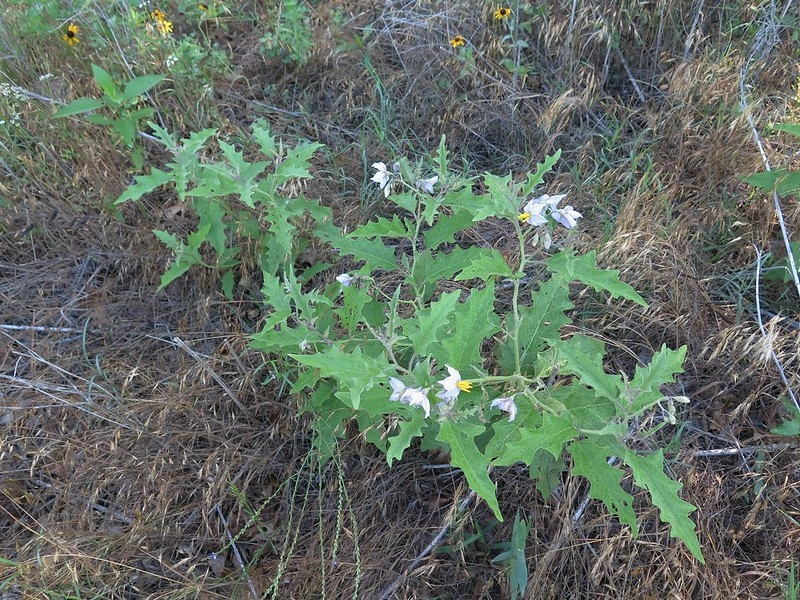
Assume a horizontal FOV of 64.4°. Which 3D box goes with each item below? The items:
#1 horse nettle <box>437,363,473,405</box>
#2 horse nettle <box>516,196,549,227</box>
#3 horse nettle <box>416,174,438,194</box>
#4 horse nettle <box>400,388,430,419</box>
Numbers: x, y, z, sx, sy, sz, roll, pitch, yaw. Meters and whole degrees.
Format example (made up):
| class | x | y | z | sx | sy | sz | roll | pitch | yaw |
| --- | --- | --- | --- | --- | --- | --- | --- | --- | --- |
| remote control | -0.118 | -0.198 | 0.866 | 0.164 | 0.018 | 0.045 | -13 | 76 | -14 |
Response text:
| class | x | y | z | sx | sy | sz | roll | pitch | yaw |
| --- | --- | --- | --- | --- | --- | --- | --- | --- | --- |
| horse nettle | 0.260 | 0.412 | 3.023 | 0.143 | 0.312 | 0.188 | -5 | 48 | 10 |
| horse nettle | 0.676 | -0.415 | 3.218 | 0.144 | 0.062 | 0.148 | -41 | 60 | 8 |
| horse nettle | 0.160 | -0.665 | 3.682 | 0.104 | 0.120 | 0.071 | -9 | 13 | 3 |
| horse nettle | 0.067 | 0.486 | 2.958 | 0.135 | 0.135 | 0.073 | 37 | 79 | 15 |
